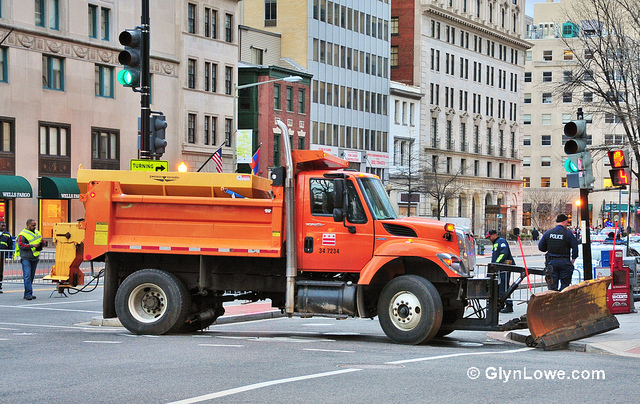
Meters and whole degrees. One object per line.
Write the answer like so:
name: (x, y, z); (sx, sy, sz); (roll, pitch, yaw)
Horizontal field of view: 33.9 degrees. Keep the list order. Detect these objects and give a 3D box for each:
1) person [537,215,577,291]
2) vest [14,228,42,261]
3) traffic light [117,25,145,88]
person: (7.738, 1.851, 33.902); (1.287, 2.895, 0.961); (3, 4, 36)
vest: (-10.804, 1.467, 39.257); (0.947, 1.125, 0.912); (5, 12, 35)
traffic light: (-5.963, -4.718, 33.310); (0.786, 2.051, 0.668); (1, -6, -11)
